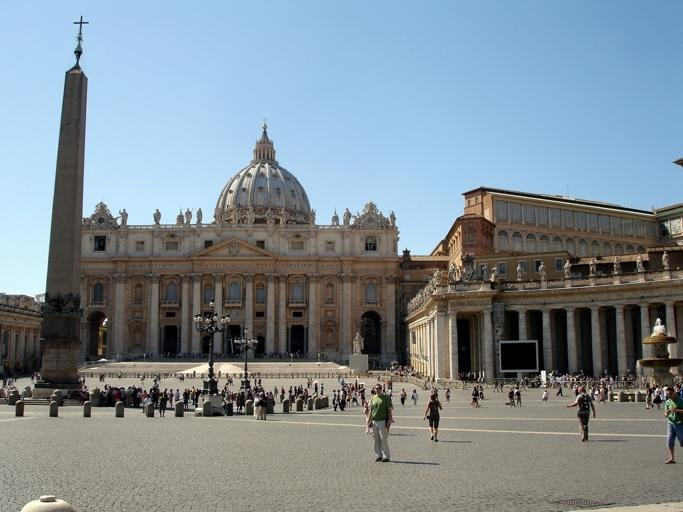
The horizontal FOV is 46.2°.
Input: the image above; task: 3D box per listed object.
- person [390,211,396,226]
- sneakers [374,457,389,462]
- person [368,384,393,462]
[{"bbox_3d":[7.500,-5.282,121.172,0.613,2.286,1.315,0,-12,-3],"label":"person"},{"bbox_3d":[1.171,6.044,23.677,0.395,0.160,0.131,-3,-8,6],"label":"sneakers"},{"bbox_3d":[1.130,4.951,23.805,0.753,2.227,0.578,-7,-12,26],"label":"person"}]
